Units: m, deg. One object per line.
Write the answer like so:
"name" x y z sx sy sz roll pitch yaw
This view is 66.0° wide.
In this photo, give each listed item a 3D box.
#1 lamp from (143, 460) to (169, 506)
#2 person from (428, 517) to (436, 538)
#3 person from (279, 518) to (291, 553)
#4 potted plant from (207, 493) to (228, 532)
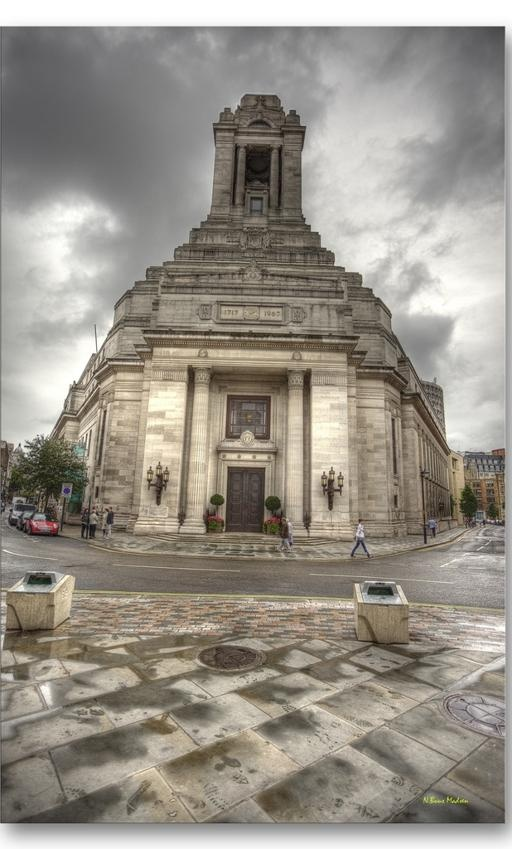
"lamp" -6.244 3.698 25.372 1.330 2.666 0.680 -1 -11 15
"person" 15.604 8.944 35.036 0.380 1.428 1.319 -2 -13 20
"person" 1.660 5.917 21.677 0.550 1.621 1.692 1 -12 4
"potted plant" -2.628 5.850 26.518 1.190 2.463 1.314 3 -11 -7
